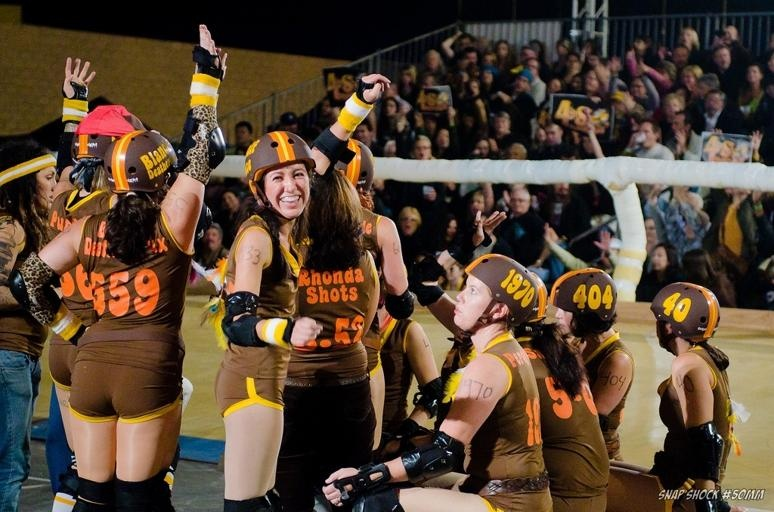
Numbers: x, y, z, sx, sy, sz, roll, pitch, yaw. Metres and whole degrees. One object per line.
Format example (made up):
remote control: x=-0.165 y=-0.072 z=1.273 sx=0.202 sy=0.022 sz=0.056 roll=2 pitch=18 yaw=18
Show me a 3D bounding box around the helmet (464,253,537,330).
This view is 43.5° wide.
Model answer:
helmet: x=0.903 y=0.280 z=7.210 sx=0.507 sy=0.480 sz=0.395 roll=-5 pitch=21 yaw=-19
